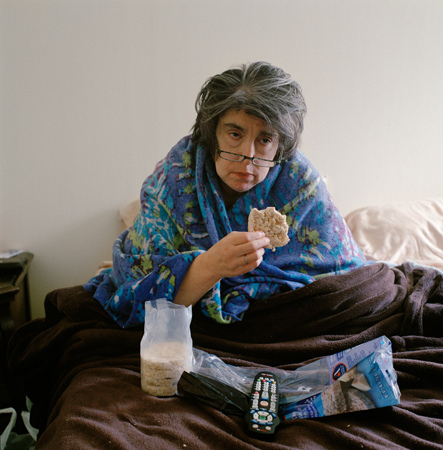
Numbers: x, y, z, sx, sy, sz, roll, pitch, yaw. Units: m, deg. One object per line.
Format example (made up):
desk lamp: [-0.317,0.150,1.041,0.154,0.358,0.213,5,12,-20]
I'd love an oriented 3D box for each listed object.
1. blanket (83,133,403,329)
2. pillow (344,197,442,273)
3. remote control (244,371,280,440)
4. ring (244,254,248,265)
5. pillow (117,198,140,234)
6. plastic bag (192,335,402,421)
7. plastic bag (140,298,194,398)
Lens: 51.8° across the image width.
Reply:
blanket: [0.113,0.007,1.714,1.298,0.596,0.602,-1,1,-8]
pillow: [0.880,0.051,2.305,0.452,0.335,0.100,-5,-40,-1]
remote control: [0.099,0.413,1.057,0.080,0.033,0.187,10,24,5]
ring: [0.071,0.094,1.283,0.007,0.031,0.032,-16,-7,1]
pillow: [-0.495,-0.057,2.461,0.047,0.147,0.179,16,-7,-6]
plastic bag: [0.173,0.370,1.095,0.442,0.130,0.223,-9,3,13]
plastic bag: [-0.138,0.312,1.140,0.140,0.220,0.084,-8,8,-7]
